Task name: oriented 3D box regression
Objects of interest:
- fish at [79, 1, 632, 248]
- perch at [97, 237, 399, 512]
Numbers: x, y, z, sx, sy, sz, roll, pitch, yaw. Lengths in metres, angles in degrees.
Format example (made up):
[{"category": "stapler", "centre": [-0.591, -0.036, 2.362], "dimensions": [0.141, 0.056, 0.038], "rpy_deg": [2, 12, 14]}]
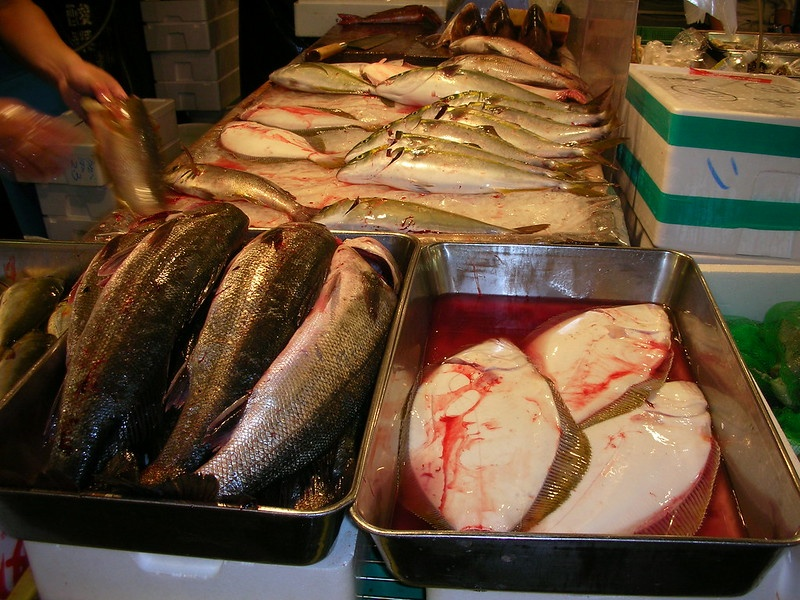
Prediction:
[{"category": "fish", "centre": [0.121, -0.832, 2.954], "dimensions": [2.242, 0.440, 1.722], "rpy_deg": [15, 34, 27]}, {"category": "perch", "centre": [-0.233, 0.174, 1.587], "dimensions": [0.290, 0.246, 1.048], "rpy_deg": [22, 66, 23]}]
